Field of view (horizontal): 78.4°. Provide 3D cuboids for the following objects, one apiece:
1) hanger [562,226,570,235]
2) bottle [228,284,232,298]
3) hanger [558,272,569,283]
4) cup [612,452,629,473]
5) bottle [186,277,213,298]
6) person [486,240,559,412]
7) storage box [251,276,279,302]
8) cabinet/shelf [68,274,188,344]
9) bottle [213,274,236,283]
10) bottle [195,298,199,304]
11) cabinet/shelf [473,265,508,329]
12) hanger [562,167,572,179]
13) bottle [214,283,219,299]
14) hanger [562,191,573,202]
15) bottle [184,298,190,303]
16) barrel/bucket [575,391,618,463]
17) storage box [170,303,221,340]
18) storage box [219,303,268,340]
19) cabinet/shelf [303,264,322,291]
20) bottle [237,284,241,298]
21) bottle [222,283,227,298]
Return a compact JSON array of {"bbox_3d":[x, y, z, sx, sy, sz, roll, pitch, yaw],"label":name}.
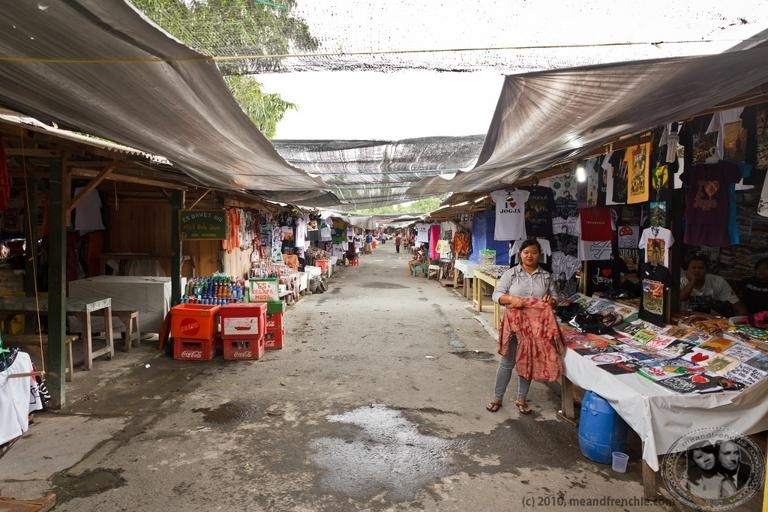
[{"bbox_3d":[3.632,-0.525,9.400,0.144,0.170,0.045,0,7,13],"label":"hanger"},{"bbox_3d":[-3.053,0.677,9.265,0.100,0.204,0.151,-2,12,-13],"label":"bottle"},{"bbox_3d":[3.454,0.425,9.060,0.182,0.146,0.169,3,6,32],"label":"hanger"},{"bbox_3d":[2.515,2.219,5.106,0.226,0.151,0.198,1,1,15],"label":"cup"},{"bbox_3d":[-3.663,0.618,9.309,0.449,0.417,0.414,1,-5,9],"label":"bottle"},{"bbox_3d":[1.909,0.948,6.232,0.924,2.264,0.784,4,12,13],"label":"person"},{"bbox_3d":[-2.671,0.740,10.481,0.659,0.400,0.606,1,2,9],"label":"storage box"},{"bbox_3d":[-4.752,0.839,9.135,1.843,0.809,1.168,2,6,3],"label":"cabinet/shelf"},{"bbox_3d":[-3.211,0.433,9.504,0.429,0.127,0.554,1,10,3],"label":"bottle"},{"bbox_3d":[-3.603,0.879,9.029,0.082,0.070,0.071,-1,-11,-1],"label":"bottle"},{"bbox_3d":[2.279,0.885,10.246,0.892,0.916,1.484,1,3,-3],"label":"cabinet/shelf"},{"bbox_3d":[3.325,-1.489,8.481,0.153,0.169,1.996,5,11,20],"label":"hanger"},{"bbox_3d":[-3.293,0.673,9.229,0.101,0.227,0.079,-1,12,-10],"label":"bottle"},{"bbox_3d":[3.664,-1.195,9.377,0.273,0.223,0.063,-5,-1,21],"label":"hanger"},{"bbox_3d":[-3.786,0.853,9.025,0.117,0.068,0.111,-2,-1,0],"label":"bottle"},{"bbox_3d":[2.534,1.942,5.371,0.563,0.680,0.451,9,-9,-24],"label":"barrel/bucket"},{"bbox_3d":[-3.307,1.119,8.171,0.727,0.366,0.662,1,2,-6],"label":"storage box"},{"bbox_3d":[-2.482,1.149,8.231,0.682,0.366,0.631,-1,-1,-1],"label":"storage box"},{"bbox_3d":[-2.449,0.742,16.052,0.316,0.739,0.626,7,1,-15],"label":"cabinet/shelf"},{"bbox_3d":[-2.907,0.716,9.368,0.120,0.257,0.196,-2,12,-13],"label":"bottle"},{"bbox_3d":[-3.142,0.675,9.219,0.109,0.228,0.079,-3,13,-18],"label":"bottle"}]
